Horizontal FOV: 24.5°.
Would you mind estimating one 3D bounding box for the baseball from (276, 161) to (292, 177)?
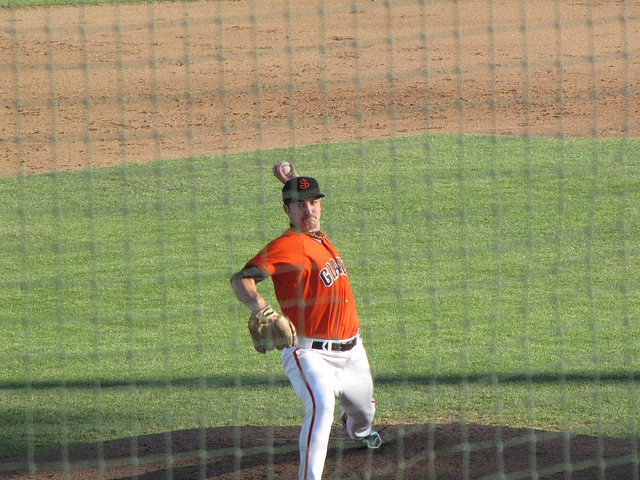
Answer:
[{"bbox_3d":[-0.481,-0.959,19.524,0.196,0.195,0.094,-10,-16,-3],"label":"baseball"}]

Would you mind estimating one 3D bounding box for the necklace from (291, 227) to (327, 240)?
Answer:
[{"bbox_3d":[-0.113,-0.087,19.158,0.444,0.200,0.101,-1,-19,-29],"label":"necklace"}]
